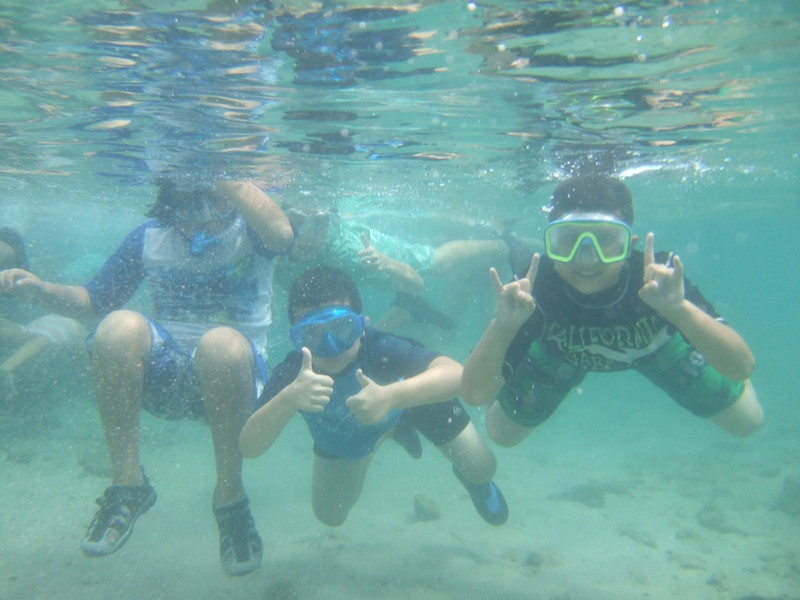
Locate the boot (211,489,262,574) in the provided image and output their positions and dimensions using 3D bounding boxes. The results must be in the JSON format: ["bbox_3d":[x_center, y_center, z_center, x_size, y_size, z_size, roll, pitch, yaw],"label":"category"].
[{"bbox_3d":[-2.163,3.033,9.868,0.701,0.307,1.311,2,27,-16],"label":"boot"}]
